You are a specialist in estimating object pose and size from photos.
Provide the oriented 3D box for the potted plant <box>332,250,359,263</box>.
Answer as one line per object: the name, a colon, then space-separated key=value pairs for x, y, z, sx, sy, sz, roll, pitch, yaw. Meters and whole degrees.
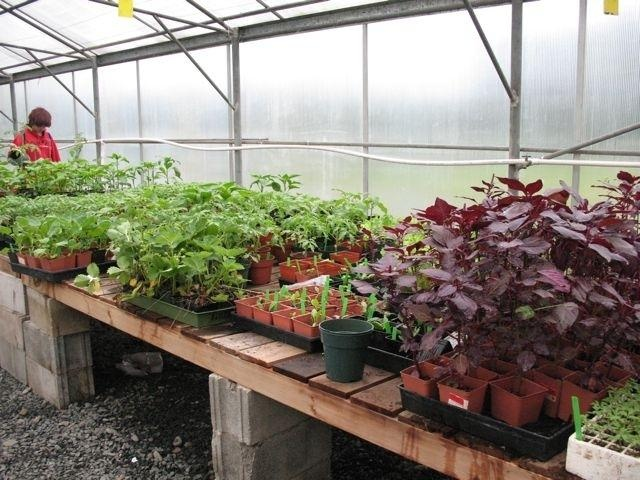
potted plant: x=0.191 y=0.121 z=3.384 sx=0.154 sy=0.035 sz=0.111 roll=-3 pitch=9 yaw=-35

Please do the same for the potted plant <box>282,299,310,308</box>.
potted plant: x=-0.123 y=0.332 z=2.442 sx=0.123 sy=0.030 sz=0.081 roll=9 pitch=14 yaw=38

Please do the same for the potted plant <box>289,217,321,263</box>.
potted plant: x=-0.116 y=-0.024 z=3.354 sx=0.214 sy=0.303 sz=0.379 roll=0 pitch=8 yaw=-1

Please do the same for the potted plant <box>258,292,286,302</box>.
potted plant: x=-0.255 y=0.315 z=2.531 sx=0.103 sy=0.022 sz=0.082 roll=0 pitch=2 yaw=3

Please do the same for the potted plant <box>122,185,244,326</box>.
potted plant: x=-0.887 y=0.070 z=2.918 sx=0.841 sy=0.755 sz=1.033 roll=-3 pitch=9 yaw=-20

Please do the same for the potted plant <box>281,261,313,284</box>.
potted plant: x=-0.169 y=0.216 z=3.075 sx=0.183 sy=0.094 sz=0.219 roll=5 pitch=7 yaw=44

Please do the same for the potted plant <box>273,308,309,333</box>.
potted plant: x=-0.157 y=0.418 z=2.382 sx=0.161 sy=0.070 sz=0.132 roll=6 pitch=8 yaw=41

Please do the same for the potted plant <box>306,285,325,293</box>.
potted plant: x=-0.018 y=0.286 z=2.653 sx=0.064 sy=0.027 sz=0.062 roll=-2 pitch=5 yaw=-41

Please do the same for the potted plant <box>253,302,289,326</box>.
potted plant: x=-0.273 y=0.396 z=2.450 sx=0.183 sy=0.058 sz=0.115 roll=9 pitch=14 yaw=29

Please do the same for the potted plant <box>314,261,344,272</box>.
potted plant: x=0.061 y=0.185 z=3.111 sx=0.108 sy=0.034 sz=0.125 roll=-7 pitch=11 yaw=-35

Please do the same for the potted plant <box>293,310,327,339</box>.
potted plant: x=-0.068 y=0.431 z=2.280 sx=0.179 sy=0.054 sz=0.118 roll=-1 pitch=4 yaw=-34

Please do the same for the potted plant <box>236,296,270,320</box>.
potted plant: x=-0.365 y=0.377 z=2.502 sx=0.200 sy=0.053 sz=0.133 roll=10 pitch=13 yaw=40

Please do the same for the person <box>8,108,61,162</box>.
person: x=-3.810 y=-1.432 z=6.012 sx=0.505 sy=0.782 sz=1.144 roll=-5 pitch=9 yaw=-27
